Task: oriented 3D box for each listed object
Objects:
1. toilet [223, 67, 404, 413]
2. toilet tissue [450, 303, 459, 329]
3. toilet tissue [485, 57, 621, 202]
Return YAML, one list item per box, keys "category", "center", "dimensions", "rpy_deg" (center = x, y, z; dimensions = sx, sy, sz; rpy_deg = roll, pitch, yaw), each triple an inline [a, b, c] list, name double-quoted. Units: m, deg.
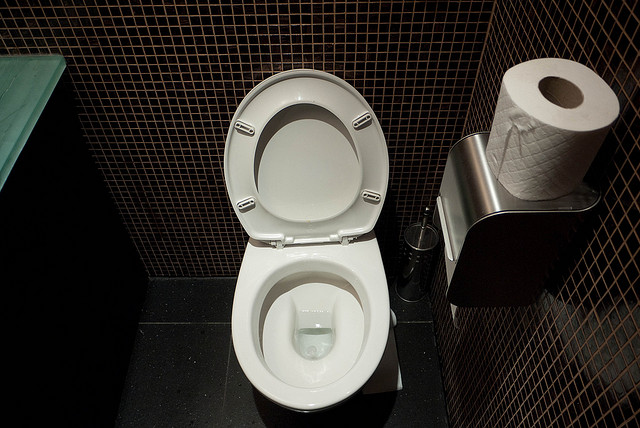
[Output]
- category: "toilet"
  center: [-0.026, 0.059, 1.616]
  dimensions: [0.608, 1.081, 0.474]
  rpy_deg: [3, 7, -4]
- category: "toilet tissue"
  center: [0.512, 0.386, 1.786]
  dimensions: [0.026, 0.087, 0.077]
  rpy_deg: [3, 7, 2]
- category: "toilet tissue"
  center: [0.504, -0.193, 1.035]
  dimensions: [0.215, 0.213, 0.239]
  rpy_deg: [-10, 51, 1]
